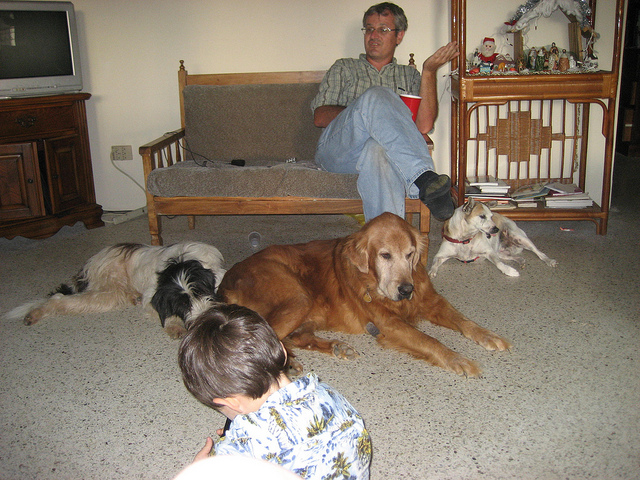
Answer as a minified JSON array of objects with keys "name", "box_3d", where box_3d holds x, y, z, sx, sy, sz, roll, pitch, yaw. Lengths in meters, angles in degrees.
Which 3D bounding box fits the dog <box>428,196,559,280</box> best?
[{"name":"dog","box_3d":[1.151,-0.052,3.391,0.840,0.516,0.584,4,17,14]}]

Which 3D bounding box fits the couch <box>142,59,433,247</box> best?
[{"name":"couch","box_3d":[-0.230,-0.632,3.881,2.050,1.452,1.059,1,19,7]}]

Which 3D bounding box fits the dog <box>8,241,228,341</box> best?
[{"name":"dog","box_3d":[-1.053,0.243,2.814,1.032,0.467,0.645,0,18,13]}]

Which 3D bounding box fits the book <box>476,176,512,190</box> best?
[{"name":"book","box_3d":[1.437,-0.457,4.042,0.232,0.058,0.238,-1,21,6]}]

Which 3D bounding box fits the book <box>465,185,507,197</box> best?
[{"name":"book","box_3d":[1.270,-0.373,3.908,0.305,0.061,0.209,7,22,29]}]

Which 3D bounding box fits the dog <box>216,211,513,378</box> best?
[{"name":"dog","box_3d":[0.175,0.259,2.618,1.505,0.721,0.959,5,16,16]}]

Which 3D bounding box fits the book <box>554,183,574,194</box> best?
[{"name":"book","box_3d":[1.913,-0.416,3.936,0.079,0.026,0.125,4,22,7]}]

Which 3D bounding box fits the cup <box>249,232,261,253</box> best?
[{"name":"cup","box_3d":[-0.485,0.023,3.735,0.086,0.090,0.130,13,47,-15]}]

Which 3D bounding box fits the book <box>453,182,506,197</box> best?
[{"name":"book","box_3d":[1.307,-0.400,3.979,0.307,0.070,0.316,1,19,14]}]

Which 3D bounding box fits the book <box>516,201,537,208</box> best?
[{"name":"book","box_3d":[1.602,-0.278,3.871,0.168,0.040,0.042,-5,19,-5]}]

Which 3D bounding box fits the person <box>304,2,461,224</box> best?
[{"name":"person","box_3d":[0.424,-0.891,3.421,1.018,1.469,1.523,-4,19,-1]}]

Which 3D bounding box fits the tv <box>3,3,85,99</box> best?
[{"name":"tv","box_3d":[-2.172,-1.479,3.898,0.697,0.671,0.420,-5,28,-27]}]

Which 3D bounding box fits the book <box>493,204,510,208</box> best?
[{"name":"book","box_3d":[1.392,-0.260,3.817,0.134,0.017,0.046,-10,20,-19]}]
